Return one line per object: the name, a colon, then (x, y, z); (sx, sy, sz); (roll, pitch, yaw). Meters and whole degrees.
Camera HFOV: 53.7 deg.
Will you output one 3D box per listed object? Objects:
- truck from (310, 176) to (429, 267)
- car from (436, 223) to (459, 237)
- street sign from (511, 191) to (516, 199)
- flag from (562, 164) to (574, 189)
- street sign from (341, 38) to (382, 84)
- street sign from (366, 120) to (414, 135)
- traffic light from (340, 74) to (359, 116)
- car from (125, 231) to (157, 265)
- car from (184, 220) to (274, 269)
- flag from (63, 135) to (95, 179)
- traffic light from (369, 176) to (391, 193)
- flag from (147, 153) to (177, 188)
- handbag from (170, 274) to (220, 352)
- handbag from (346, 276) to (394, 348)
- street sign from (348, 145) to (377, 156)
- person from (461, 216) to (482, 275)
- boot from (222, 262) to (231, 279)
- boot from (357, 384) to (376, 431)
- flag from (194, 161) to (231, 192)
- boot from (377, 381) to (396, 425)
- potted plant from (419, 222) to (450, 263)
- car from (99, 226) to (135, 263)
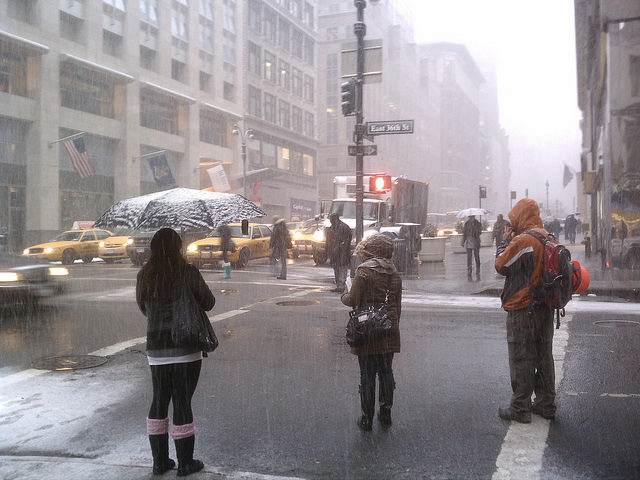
truck: (2.622, -1.356, 26.569); (2.714, 3.605, 6.664); (1, -1, 30)
car: (8.193, -0.690, 40.644); (1.247, 1.028, 2.164); (-2, -4, 12)
street sign: (13.486, -3.162, 44.354); (0.253, 0.560, 1.438); (0, 7, 12)
flag: (17.876, -4.744, 45.711); (0.485, 1.416, 1.722); (2, 7, 23)
street sign: (1.000, -4.314, 15.242); (0.985, 1.174, 0.099); (-6, 45, 1)
street sign: (1.667, -2.762, 15.342); (1.105, 0.347, 0.938); (-1, 7, 4)
traffic light: (0.715, -3.518, 15.359); (0.397, 1.013, 0.964); (-1, 7, 1)
car: (-5.405, 0.206, 19.020); (0.941, 1.062, 1.947); (0, -5, 1)
car: (-3.275, 0.122, 22.796); (1.472, 1.300, 3.919); (-1, -3, 18)
flag: (-12.102, -4.199, 31.739); (1.163, 1.953, 0.652); (-4, 7, -27)
traffic light: (1.477, -1.412, 15.846); (0.504, 0.402, 0.324); (0, 7, 7)
flag: (-8.820, -3.947, 35.172); (1.255, 2.379, 0.130); (-5, 38, -5)
handbag: (-1.290, 0.752, 6.461); (0.453, 0.795, 0.266); (-3, 7, -18)
handbag: (0.488, 0.770, 7.140); (0.552, 0.793, 0.323); (-11, -6, 22)
street sign: (1.030, -2.194, 15.321); (0.634, 0.238, 0.653); (-1, 7, 0)
person: (4.590, 0.191, 19.261); (0.545, 1.826, 1.479); (1, 7, 14)
boot: (-2.786, 0.909, 18.719); (0.209, 0.427, 0.398); (-2, 7, -10)
boot: (0.512, 1.871, 7.141); (0.187, 0.515, 0.172); (-1, 6, 2)
flag: (-5.810, -3.661, 36.092); (1.589, 0.318, 2.983); (-1, -30, -38)
boot: (0.752, 1.841, 7.285); (0.182, 0.519, 0.244); (-1, 6, 3)
potted plant: (4.636, 0.118, 25.553); (1.168, 1.508, 1.353); (0, -3, 4)
car: (-7.665, 0.229, 23.814); (1.046, 1.107, 2.099); (0, -5, 2)
